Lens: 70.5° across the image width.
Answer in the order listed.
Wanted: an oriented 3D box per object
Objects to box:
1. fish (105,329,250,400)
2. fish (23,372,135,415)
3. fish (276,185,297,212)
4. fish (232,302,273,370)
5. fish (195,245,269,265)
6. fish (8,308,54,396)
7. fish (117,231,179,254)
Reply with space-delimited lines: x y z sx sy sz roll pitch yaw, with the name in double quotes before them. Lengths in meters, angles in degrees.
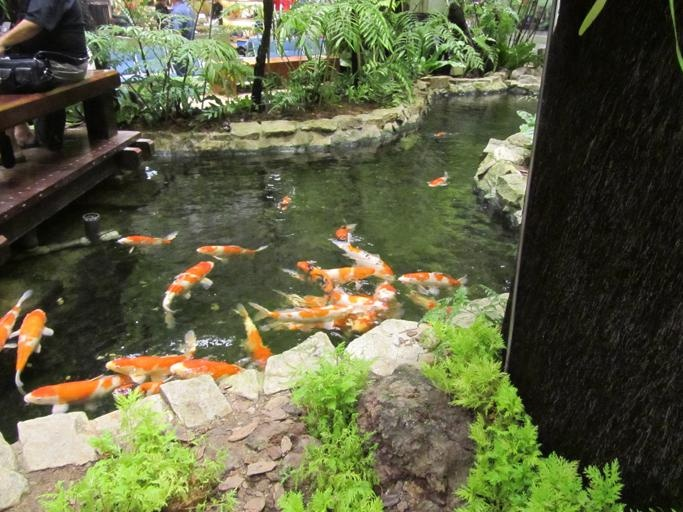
"fish" -1.136 0.793 3.383 0.898 0.325 0.334 -1 51 -1
"fish" -1.771 0.947 3.300 0.190 0.218 0.723 19 9 41
"fish" -0.687 -0.715 6.197 0.130 0.162 0.417 10 16 4
"fish" -0.766 0.642 3.795 0.152 0.264 0.656 -25 49 -25
"fish" -1.156 -0.062 4.935 0.885 0.186 0.314 -2 14 -18
"fish" -2.362 0.649 3.586 0.318 0.234 0.691 7 44 -23
"fish" -2.013 -0.180 5.097 0.658 0.253 0.183 -5 61 -31
